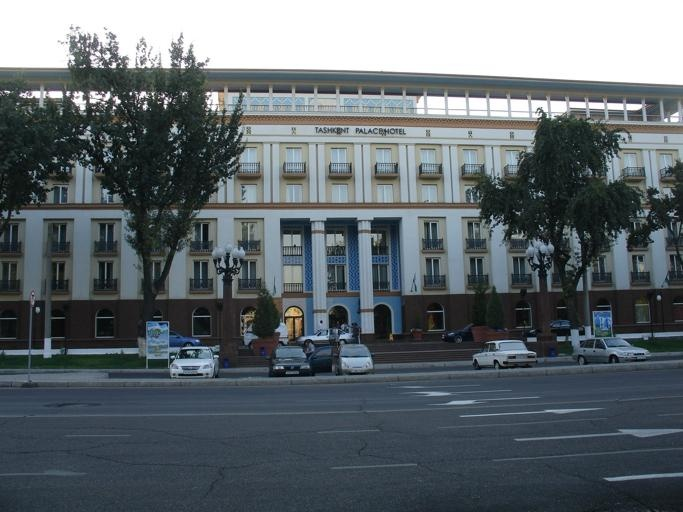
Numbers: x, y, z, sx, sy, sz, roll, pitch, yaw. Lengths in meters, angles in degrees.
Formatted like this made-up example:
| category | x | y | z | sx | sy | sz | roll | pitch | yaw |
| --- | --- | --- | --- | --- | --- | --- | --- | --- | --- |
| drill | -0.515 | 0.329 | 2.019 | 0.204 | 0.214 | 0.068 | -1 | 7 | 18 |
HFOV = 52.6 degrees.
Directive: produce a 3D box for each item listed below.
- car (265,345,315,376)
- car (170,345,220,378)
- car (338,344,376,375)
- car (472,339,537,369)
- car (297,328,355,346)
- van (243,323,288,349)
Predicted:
| category | x | y | z | sx | sy | sz | roll | pitch | yaw |
| --- | --- | --- | --- | --- | --- | --- | --- | --- | --- |
| car | -2.547 | 5.124 | 33.609 | 1.470 | 1.245 | 2.647 | 0 | -12 | -8 |
| car | -6.566 | 4.785 | 30.738 | 1.860 | 1.280 | 1.873 | 0 | -2 | 0 |
| car | 0.655 | 5.075 | 33.644 | 1.567 | 1.382 | 2.779 | -1 | -10 | -4 |
| car | 7.852 | 4.836 | 34.142 | 1.454 | 1.038 | 2.731 | 0 | -3 | -17 |
| car | -1.284 | 6.002 | 50.921 | 3.593 | 1.289 | 1.646 | 1 | -4 | -1 |
| van | -5.673 | 5.438 | 50.132 | 3.452 | 2.235 | 2.320 | 2 | -9 | -4 |
